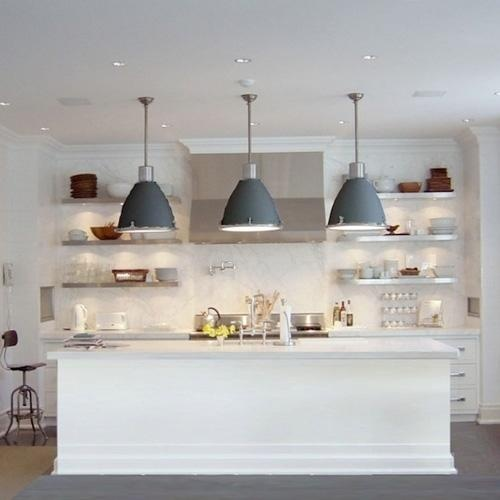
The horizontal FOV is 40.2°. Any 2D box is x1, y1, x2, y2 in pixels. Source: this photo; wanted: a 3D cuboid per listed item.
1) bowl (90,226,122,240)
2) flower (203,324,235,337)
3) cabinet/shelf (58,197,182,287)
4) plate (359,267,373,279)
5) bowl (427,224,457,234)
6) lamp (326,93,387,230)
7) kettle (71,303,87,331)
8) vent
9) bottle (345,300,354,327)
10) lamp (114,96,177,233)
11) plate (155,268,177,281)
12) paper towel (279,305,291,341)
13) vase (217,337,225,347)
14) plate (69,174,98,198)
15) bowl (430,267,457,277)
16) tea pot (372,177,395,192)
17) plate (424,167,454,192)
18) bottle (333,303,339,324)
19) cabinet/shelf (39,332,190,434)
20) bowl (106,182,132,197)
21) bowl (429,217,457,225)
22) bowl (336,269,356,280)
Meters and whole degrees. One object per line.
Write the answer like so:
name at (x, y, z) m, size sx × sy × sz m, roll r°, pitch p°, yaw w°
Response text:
bowl at (-1.451, -0.167, 6.854) m, size 0.311 × 0.167 × 0.225 m, roll -1°, pitch -4°, yaw 1°
flower at (-0.204, 0.610, 5.156) m, size 0.271 × 0.086 × 0.280 m, roll -2°, pitch -4°, yaw 35°
cabinet/shelf at (-1.183, -0.266, 7.007) m, size 1.383 × 0.830 × 0.415 m, roll 13°, pitch 31°, yaw 21°
plate at (1.149, 0.219, 6.659) m, size 0.165 × 0.127 × 0.101 m, roll -1°, pitch -5°, yaw -14°
bowl at (1.893, -0.187, 6.720) m, size 0.255 × 0.099 × 0.238 m, roll -1°, pitch -4°, yaw 0°
lamp at (0.805, -0.644, 5.189) m, size 0.396 × 1.054 × 1.190 m, roll -3°, pitch -4°, yaw 11°
kettle at (-1.692, 0.672, 6.791) m, size 0.141 × 0.264 × 0.289 m, roll -1°, pitch -4°, yaw -12°
vent at (0.023, -0.560, 6.641) m, size 1.458 × 0.779 × 0.672 m, roll -3°, pitch 35°, yaw -26°
bottle at (0.980, 0.616, 6.711) m, size 0.078 × 0.260 × 0.226 m, roll -3°, pitch -4°, yaw 8°
lamp at (-0.832, -0.621, 5.391) m, size 0.402 × 1.050 × 1.317 m, roll -1°, pitch -4°, yaw -9°
plate at (-0.822, 0.231, 6.726) m, size 0.164 × 0.086 × 0.162 m, roll -1°, pitch 1°, yaw -38°
paper towel at (0.259, 0.565, 5.097) m, size 0.091 × 0.261 × 0.074 m, roll 0°, pitch -1°, yaw -4°
vase at (-0.221, 0.694, 5.141) m, size 0.068 × 0.061 × 0.056 m, roll 2°, pitch -16°, yaw -9°
plate at (-1.651, -0.633, 6.800) m, size 0.302 × 0.196 × 0.266 m, roll -2°, pitch 3°, yaw -23°
bowl at (1.901, 0.217, 6.707) m, size 0.215 × 0.120 × 0.278 m, roll -2°, pitch -4°, yaw 15°
tea pot at (1.311, -0.640, 6.708) m, size 0.211 × 0.110 × 0.146 m, roll -1°, pitch -1°, yaw 1°
plate at (1.844, -0.680, 6.726) m, size 0.303 × 0.224 × 0.264 m, roll 0°, pitch -5°, yaw 1°
bottle at (0.859, 0.630, 6.741) m, size 0.082 × 0.206 × 0.169 m, roll -3°, pitch -4°, yaw 6°
cabinet/shelf at (-1.316, 1.048, 6.650) m, size 1.306 × 0.634 × 0.382 m, roll 11°, pitch 0°, yaw -14°
bowl at (-1.292, -0.583, 6.731) m, size 0.200 × 0.088 × 0.175 m, roll 0°, pitch 2°, yaw 13°
bowl at (1.900, -0.287, 6.726) m, size 0.227 × 0.086 × 0.259 m, roll -3°, pitch -4°, yaw 19°
bowl at (0.945, 0.235, 6.739) m, size 0.145 × 0.060 × 0.127 m, roll 2°, pitch -7°, yaw -16°
